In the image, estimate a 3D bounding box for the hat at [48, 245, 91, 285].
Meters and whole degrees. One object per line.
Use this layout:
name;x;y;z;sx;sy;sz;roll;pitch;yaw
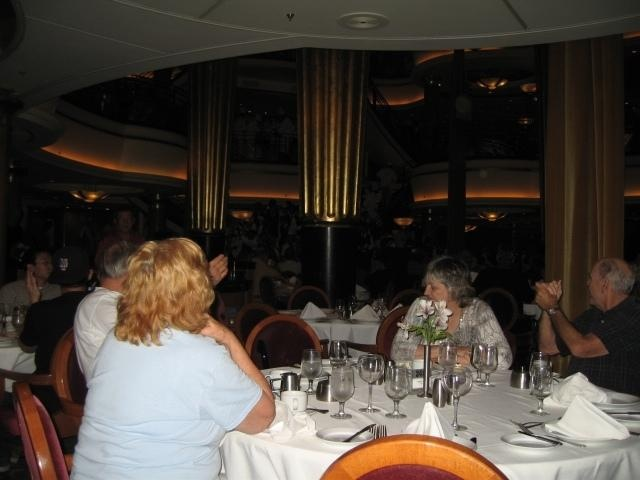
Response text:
hat;-1.548;0.164;3.389;0.173;0.274;0.262;-1;8;-1

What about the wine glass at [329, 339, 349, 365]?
wine glass;0.098;0.573;2.727;0.102;0.105;0.106;-2;-8;14

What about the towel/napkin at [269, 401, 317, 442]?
towel/napkin;-0.100;0.713;2.100;0.125;0.044;0.139;9;5;35

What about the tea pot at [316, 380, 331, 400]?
tea pot;0.019;0.699;2.483;0.073;0.087;0.078;1;-7;0

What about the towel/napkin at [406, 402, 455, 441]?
towel/napkin;0.379;0.657;1.906;0.160;0.142;0.211;3;-14;33

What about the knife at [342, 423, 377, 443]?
knife;0.155;0.731;2.037;0.044;0.034;0.241;10;3;27

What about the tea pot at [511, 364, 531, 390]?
tea pot;1.024;0.697;2.739;0.074;0.087;0.097;0;-2;-4

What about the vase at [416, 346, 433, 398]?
vase;0.519;0.644;2.625;0.097;0.239;0.089;-2;-5;37

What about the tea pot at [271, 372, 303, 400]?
tea pot;-0.158;0.690;2.545;0.138;0.100;0.083;-2;-1;-12

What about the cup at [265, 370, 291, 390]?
cup;-0.209;0.681;2.645;0.122;0.086;0.077;-2;1;-31

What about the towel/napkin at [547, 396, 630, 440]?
towel/napkin;1.088;0.675;2.168;0.180;0.083;0.251;-14;-17;-20
